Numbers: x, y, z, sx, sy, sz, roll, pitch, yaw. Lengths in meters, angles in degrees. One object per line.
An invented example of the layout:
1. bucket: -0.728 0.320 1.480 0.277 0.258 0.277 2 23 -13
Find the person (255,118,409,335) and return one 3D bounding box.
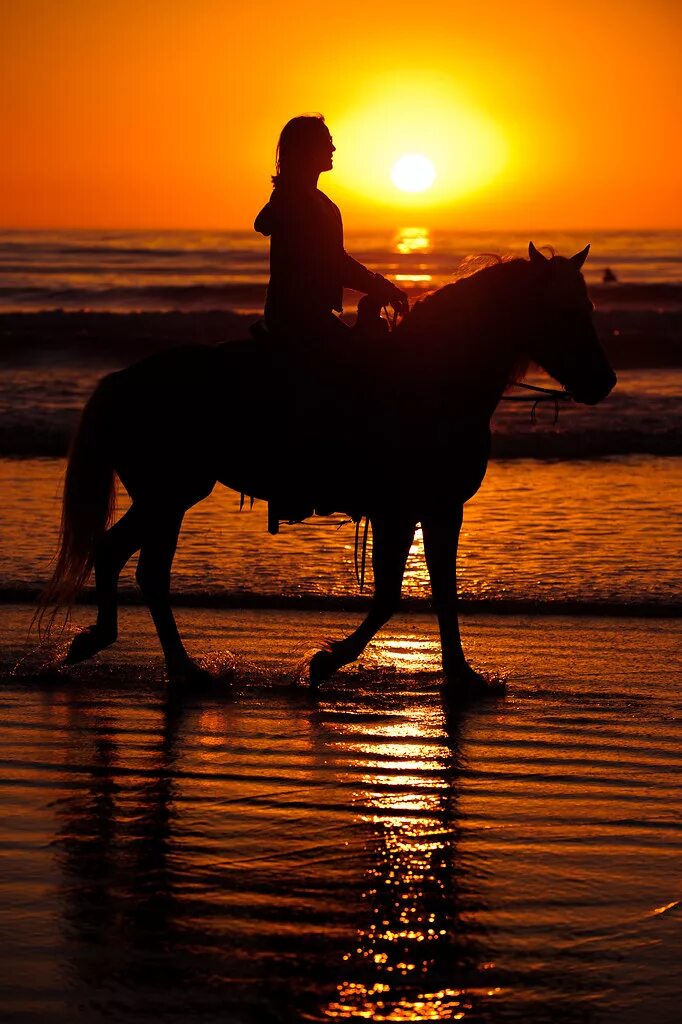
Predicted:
1. person: -0.058 -1.274 8.676 0.646 0.962 0.454 0 16 -3
